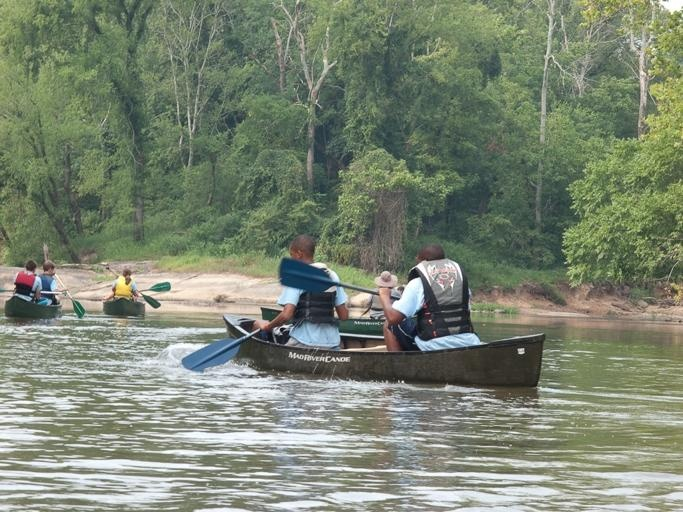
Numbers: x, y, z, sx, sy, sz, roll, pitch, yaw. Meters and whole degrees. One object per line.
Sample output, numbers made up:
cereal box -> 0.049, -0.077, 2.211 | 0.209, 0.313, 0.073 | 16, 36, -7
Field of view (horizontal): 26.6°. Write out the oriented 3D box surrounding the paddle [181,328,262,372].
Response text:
paddle -> -3.202, 2.657, 42.658 | 0.880, 0.215, 3.108 | 33, 41, 30

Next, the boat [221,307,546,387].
boat -> 0.341, 3.151, 42.615 | 13.703, 2.050, 2.917 | 3, -5, 16

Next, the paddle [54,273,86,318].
paddle -> -10.626, 1.651, 56.566 | 0.308, 2.063, 0.190 | -35, -14, 9
